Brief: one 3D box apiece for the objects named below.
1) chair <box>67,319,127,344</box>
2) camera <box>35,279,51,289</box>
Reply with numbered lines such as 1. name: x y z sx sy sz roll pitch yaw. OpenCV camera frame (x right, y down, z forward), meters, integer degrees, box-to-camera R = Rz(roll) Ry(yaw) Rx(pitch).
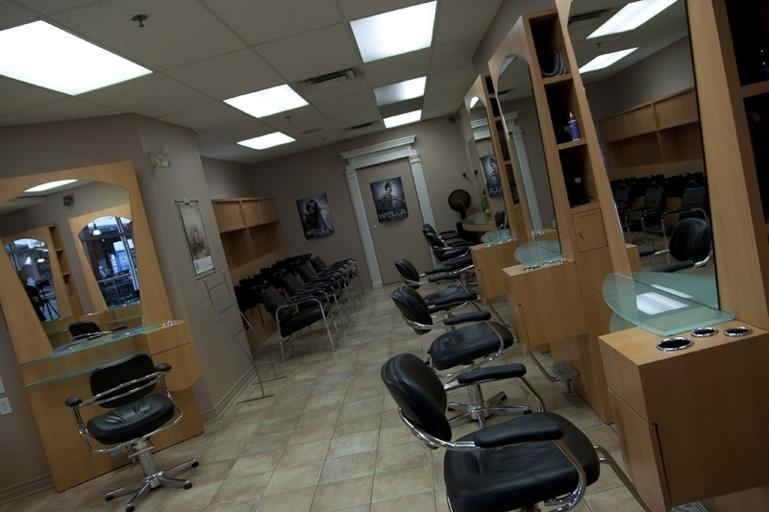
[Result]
1. chair: -2.980 0.747 4.948 0.270 0.296 0.222 -6 3 -12
2. camera: -3.385 0.264 4.752 0.145 0.080 0.098 2 10 -7
